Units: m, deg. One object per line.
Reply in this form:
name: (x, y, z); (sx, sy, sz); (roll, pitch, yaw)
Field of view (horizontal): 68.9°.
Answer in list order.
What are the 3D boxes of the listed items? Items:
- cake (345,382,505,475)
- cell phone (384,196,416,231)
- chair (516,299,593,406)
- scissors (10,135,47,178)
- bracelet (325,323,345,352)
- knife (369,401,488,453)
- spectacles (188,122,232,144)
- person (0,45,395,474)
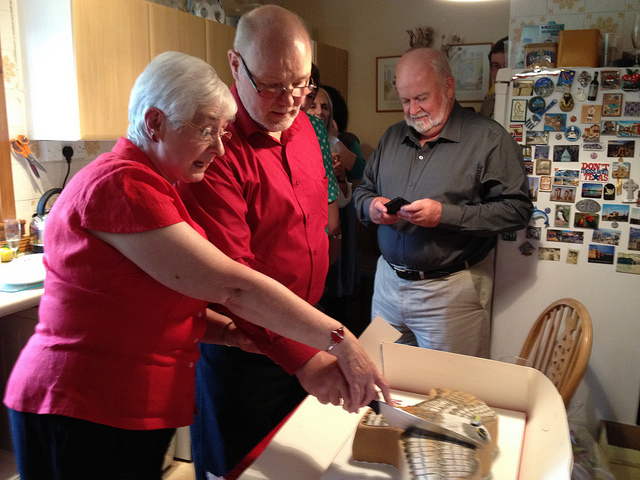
cake: (0.271, 0.493, 1.143); (0.243, 0.069, 0.255); (-4, 13, 2)
cell phone: (0.374, -0.120, 2.185); (0.020, 0.112, 0.190); (-51, 2, -23)
chair: (0.863, 0.403, 1.736); (0.208, 0.328, 0.613); (5, 15, 25)
scissors: (-1.648, -0.473, 2.646); (0.050, 0.242, 0.179); (2, 14, 15)
bracelet: (0.038, 0.238, 1.126); (0.049, 0.018, 0.051); (-41, 20, 29)
knife: (0.219, 0.473, 1.202); (0.074, 0.026, 0.537); (-52, 1, -18)
spectacles: (-0.270, -0.254, 1.089); (0.061, 0.021, 0.061); (31, 16, 13)
person: (-0.423, -0.192, 1.903); (1.109, 1.953, 0.734); (5, 18, -15)
